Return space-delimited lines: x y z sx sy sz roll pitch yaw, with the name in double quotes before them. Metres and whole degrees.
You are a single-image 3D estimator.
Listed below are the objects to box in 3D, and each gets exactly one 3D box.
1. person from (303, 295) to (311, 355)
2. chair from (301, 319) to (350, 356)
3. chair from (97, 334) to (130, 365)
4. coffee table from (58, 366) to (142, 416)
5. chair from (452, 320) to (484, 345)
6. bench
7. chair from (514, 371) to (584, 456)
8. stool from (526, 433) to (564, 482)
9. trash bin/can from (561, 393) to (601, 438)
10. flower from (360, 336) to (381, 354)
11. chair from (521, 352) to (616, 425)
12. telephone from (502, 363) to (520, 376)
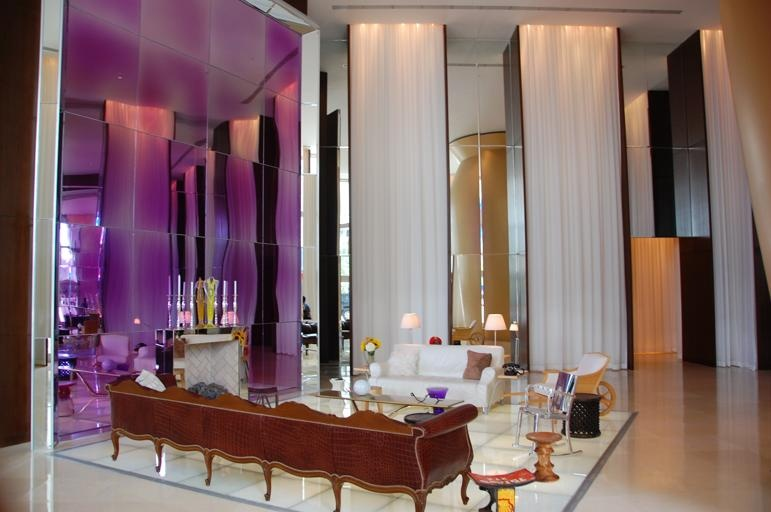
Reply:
"person" -1.631 1.427 12.431 0.186 1.162 0.127 0 -3 -25
"chair" -1.261 1.670 12.825 0.744 0.955 0.732 2 0 14
"chair" -4.306 1.485 9.558 0.400 0.560 0.448 3 -5 -29
"coffee table" -4.382 2.122 9.545 0.341 0.354 0.700 -4 20 15
"chair" 1.999 1.877 14.654 0.613 0.747 0.580 1 -8 4
"bench" -1.410 2.397 7.957 5.075 1.432 1.185 -3 -2 25
"chair" 2.398 2.329 8.947 0.952 1.144 0.868 7 -8 -43
"stool" 2.060 2.626 7.902 0.528 0.597 0.535 0 -4 2
"trash bin/can" 3.229 2.520 9.347 0.538 0.540 0.526 1 -14 -17
"flower" -0.281 1.708 11.529 0.495 0.211 0.535 2 -8 0
"chair" 2.935 2.133 9.542 1.529 1.217 1.136 1 -8 -10
"telephone" 2.262 2.048 10.740 0.293 0.172 0.315 -2 -2 6
